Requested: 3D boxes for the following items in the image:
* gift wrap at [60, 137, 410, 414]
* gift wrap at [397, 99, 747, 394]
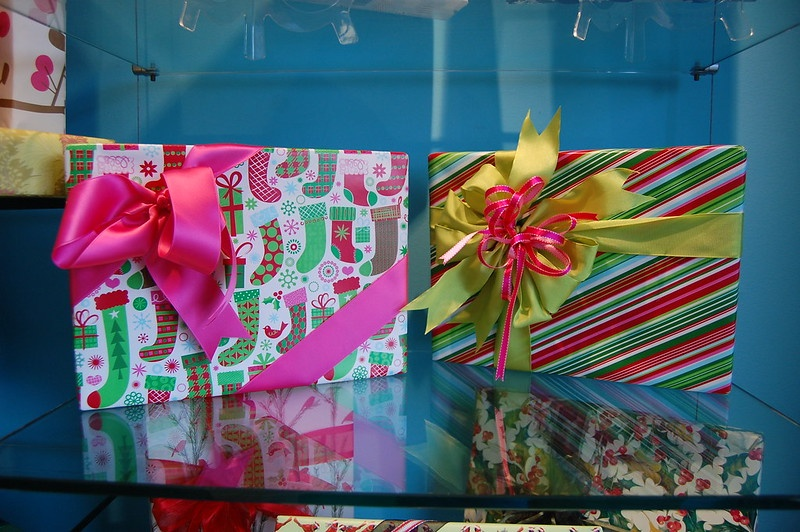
[{"bbox_3d":[-0.242,0.015,1.141,0.431,0.299,0.085,-2,12,-18],"label":"gift wrap"},{"bbox_3d":[0.274,-0.019,1.195,0.475,0.407,0.232,2,7,11],"label":"gift wrap"}]
